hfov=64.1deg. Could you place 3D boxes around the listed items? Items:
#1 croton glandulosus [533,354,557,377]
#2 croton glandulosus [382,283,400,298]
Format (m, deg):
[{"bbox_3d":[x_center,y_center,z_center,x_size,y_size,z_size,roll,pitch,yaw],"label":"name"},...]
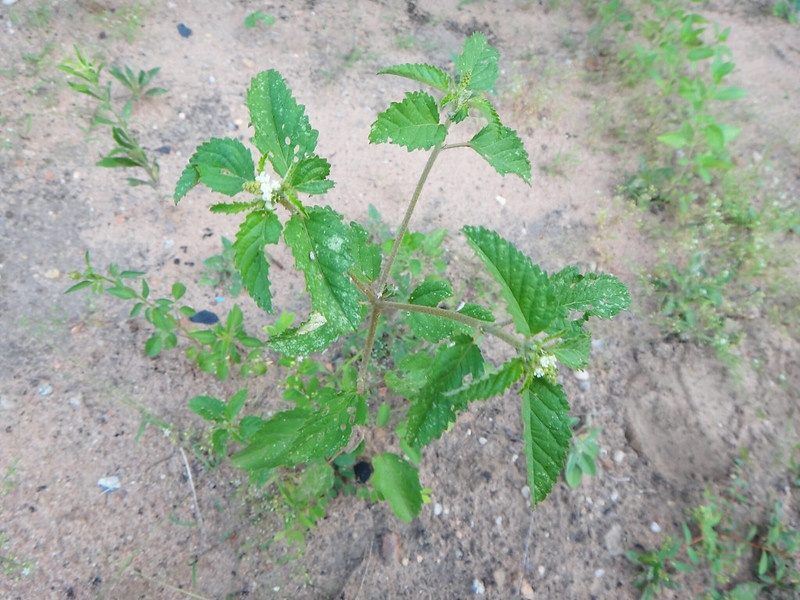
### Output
[{"bbox_3d":[0.909,0.423,4.021,0.137,0.102,0.139,7,63,-7],"label":"croton glandulosus"},{"bbox_3d":[-0.082,-0.074,4.675,0.100,0.094,0.113,-8,68,-14],"label":"croton glandulosus"}]
